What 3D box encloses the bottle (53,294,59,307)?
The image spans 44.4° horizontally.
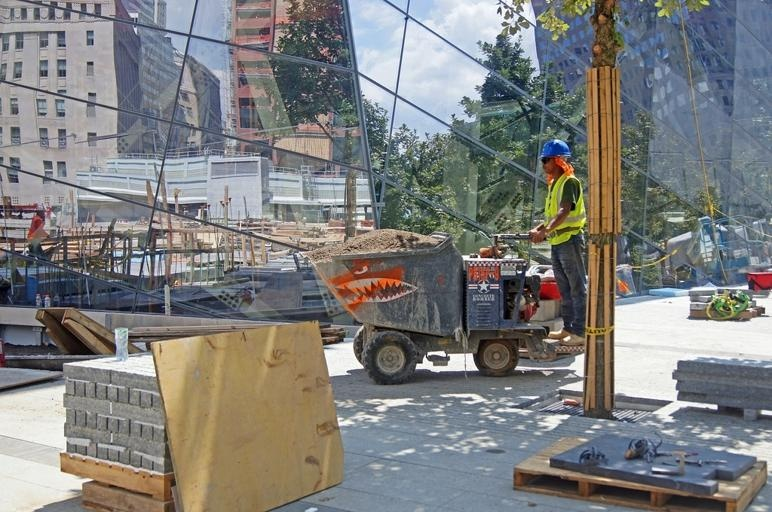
[{"bbox_3d":[-7.116,0.967,20.602,0.210,0.248,0.051,0,-1,16],"label":"bottle"}]

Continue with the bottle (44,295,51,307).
[{"bbox_3d":[-7.356,0.969,20.637,0.173,0.250,0.063,0,-2,17],"label":"bottle"}]

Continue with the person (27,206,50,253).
[{"bbox_3d":[-7.521,-0.439,20.536,0.467,1.240,0.417,11,20,-13],"label":"person"}]

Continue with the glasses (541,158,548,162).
[{"bbox_3d":[2.524,-1.558,15.172,0.048,0.055,0.077,6,-8,-35],"label":"glasses"}]

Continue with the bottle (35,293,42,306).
[{"bbox_3d":[-7.555,0.970,20.664,0.139,0.283,0.085,1,-1,-8],"label":"bottle"}]

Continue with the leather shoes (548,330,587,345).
[{"bbox_3d":[2.971,1.377,15.617,0.572,0.220,0.227,4,3,45],"label":"leather shoes"}]

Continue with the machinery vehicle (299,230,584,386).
[{"bbox_3d":[0.838,0.837,16.311,4.230,2.090,2.373,-2,3,-6],"label":"machinery vehicle"}]
